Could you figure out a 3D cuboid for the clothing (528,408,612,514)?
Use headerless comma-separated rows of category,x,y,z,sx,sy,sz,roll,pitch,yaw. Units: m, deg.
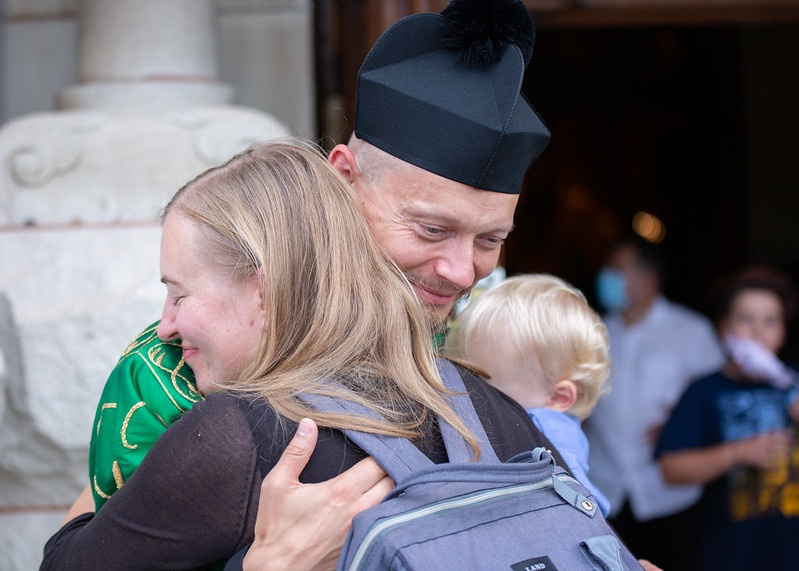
clothing,0.551,0.616,3.985,0.280,0.365,0.129,6,-39,-49

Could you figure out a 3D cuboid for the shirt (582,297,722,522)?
shirt,1.117,0.583,5.045,0.380,0.992,0.781,8,2,-39

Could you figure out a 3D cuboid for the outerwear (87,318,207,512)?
outerwear,-0.814,0.417,3.607,0.147,0.498,0.378,23,29,-10
